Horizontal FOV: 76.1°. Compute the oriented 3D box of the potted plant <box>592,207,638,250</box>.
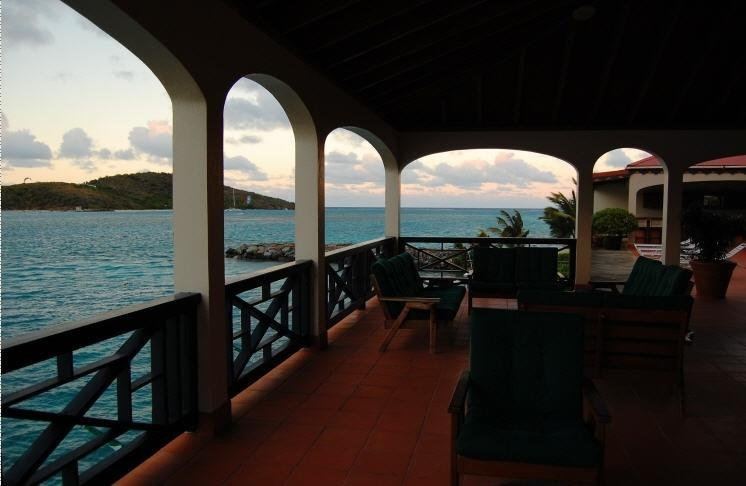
[{"bbox_3d":[8.637,-0.484,17.141,1.715,1.730,1.657,-1,0,-29],"label":"potted plant"}]

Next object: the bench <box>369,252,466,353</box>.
[{"bbox_3d":[0.634,0.695,6.297,1.063,1.044,1.346,2,12,12],"label":"bench"}]

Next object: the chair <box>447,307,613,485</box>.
[{"bbox_3d":[1.193,1.159,4.011,1.275,1.540,1.434,-1,-8,9],"label":"chair"}]

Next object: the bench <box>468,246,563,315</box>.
[{"bbox_3d":[2.176,0.450,7.365,1.307,0.702,1.124,3,12,14],"label":"bench"}]
